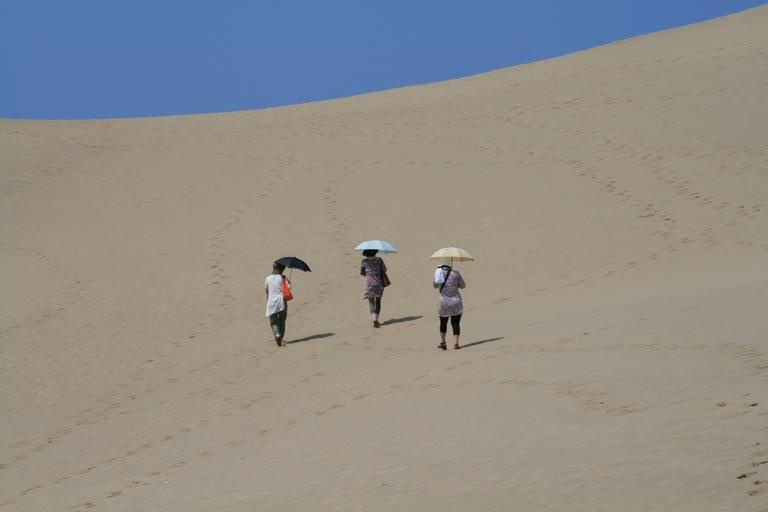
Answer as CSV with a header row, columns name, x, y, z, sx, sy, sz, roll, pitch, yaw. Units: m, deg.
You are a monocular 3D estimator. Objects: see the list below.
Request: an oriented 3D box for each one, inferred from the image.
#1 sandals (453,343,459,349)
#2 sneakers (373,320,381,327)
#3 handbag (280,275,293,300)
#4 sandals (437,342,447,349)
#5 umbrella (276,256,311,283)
name,x,y,z,sx,sy,sz,roll,pitch,yaw
sandals,1.624,2.067,33.826,0.157,0.150,0.423,2,2,5
sneakers,-0.195,1.642,35.924,0.186,0.256,0.142,-4,8,-7
handbag,-2.348,0.777,35.307,0.287,0.582,0.612,-7,-6,-6
sandals,1.313,2.065,33.979,0.167,0.146,0.380,0,-7,-5
umbrella,-2.120,0.316,35.616,0.604,0.510,0.584,12,-7,-40
